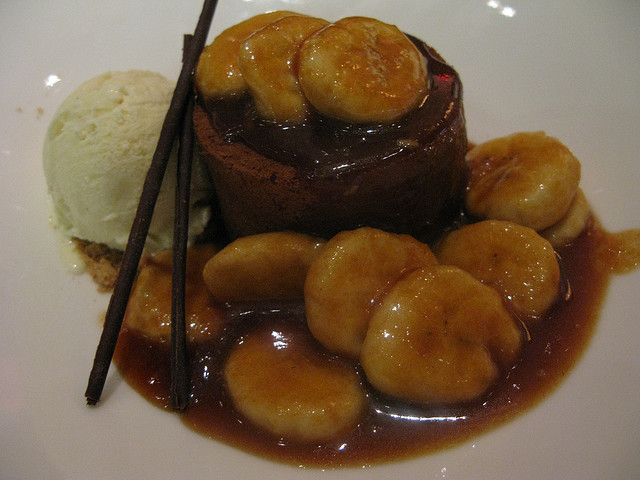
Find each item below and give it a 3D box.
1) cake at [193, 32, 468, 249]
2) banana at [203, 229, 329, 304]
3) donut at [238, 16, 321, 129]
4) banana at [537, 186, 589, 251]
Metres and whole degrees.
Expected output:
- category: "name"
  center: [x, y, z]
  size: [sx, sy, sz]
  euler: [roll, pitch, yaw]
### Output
- category: "cake"
  center: [0.032, -0.480, 2.382]
  size: [0.798, 0.670, 0.685]
  euler: [-3, 31, 0]
- category: "banana"
  center: [-0.172, 0.067, 2.254]
  size: [0.228, 0.207, 0.346]
  euler: [12, 24, 41]
- category: "donut"
  center: [-0.115, -0.468, 2.129]
  size: [0.285, 0.283, 0.085]
  euler: [-19, 5, -12]
- category: "banana"
  center: [0.830, -0.047, 2.450]
  size: [0.183, 0.082, 0.182]
  euler: [-46, 34, 15]
